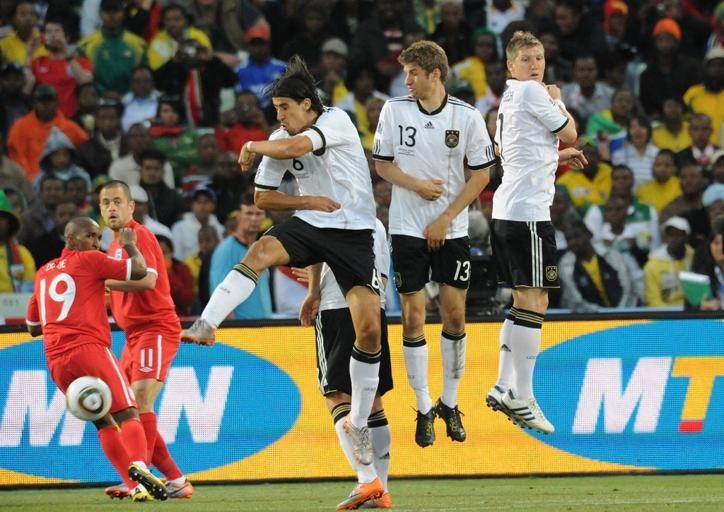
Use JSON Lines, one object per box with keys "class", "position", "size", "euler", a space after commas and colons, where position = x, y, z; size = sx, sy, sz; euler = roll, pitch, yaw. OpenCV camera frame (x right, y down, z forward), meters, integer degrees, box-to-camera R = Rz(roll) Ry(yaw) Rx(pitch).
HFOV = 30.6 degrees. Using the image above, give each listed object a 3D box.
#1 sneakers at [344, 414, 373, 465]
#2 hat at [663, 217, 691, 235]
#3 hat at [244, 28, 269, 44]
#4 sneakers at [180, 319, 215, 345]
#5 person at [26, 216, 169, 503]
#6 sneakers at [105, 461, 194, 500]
{"class": "sneakers", "position": [-0.006, 1.906, 13.466], "size": [0.220, 0.546, 0.210], "euler": [-20, 0, 38]}
{"class": "hat", "position": [3.927, -0.383, 16.552], "size": [0.351, 0.245, 0.183], "euler": [-1, -2, 20]}
{"class": "hat", "position": [-1.495, -3.252, 19.630], "size": [0.278, 0.220, 0.471], "euler": [1, -10, 2]}
{"class": "sneakers", "position": [-1.589, 0.767, 13.070], "size": [0.398, 0.233, 0.162], "euler": [5, 3, 5]}
{"class": "person", "position": [-2.797, 0.962, 13.664], "size": [1.204, 2.731, 0.489], "euler": [0, -2, -5]}
{"class": "sneakers", "position": [-2.228, 2.352, 13.762], "size": [0.570, 0.204, 0.292], "euler": [17, 23, -10]}
